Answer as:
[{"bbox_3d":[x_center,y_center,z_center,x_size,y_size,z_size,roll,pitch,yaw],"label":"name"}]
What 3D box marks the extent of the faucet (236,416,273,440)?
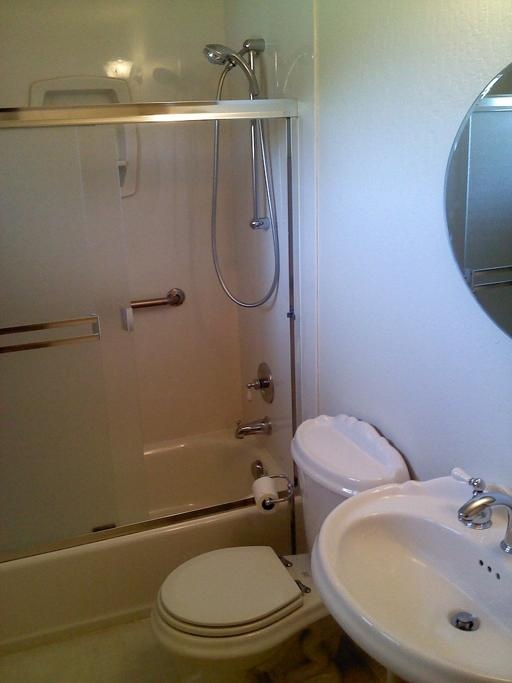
[{"bbox_3d":[-0.005,0.326,2.091,0.111,0.072,0.078,-8,30,-13],"label":"faucet"}]
